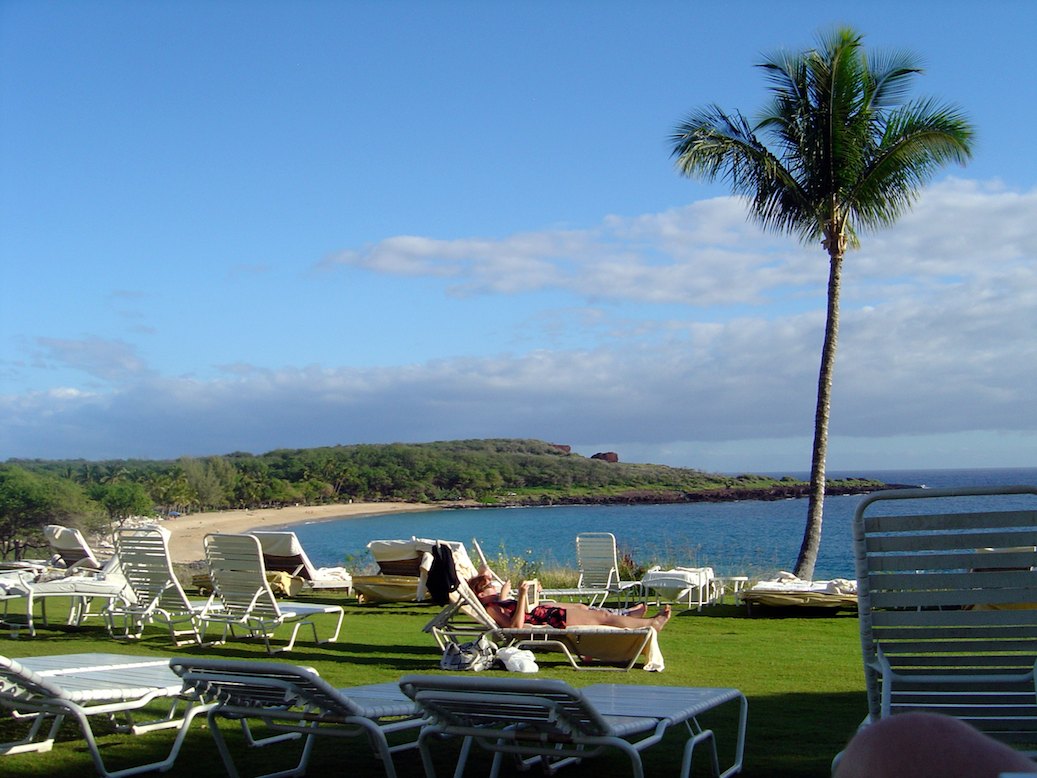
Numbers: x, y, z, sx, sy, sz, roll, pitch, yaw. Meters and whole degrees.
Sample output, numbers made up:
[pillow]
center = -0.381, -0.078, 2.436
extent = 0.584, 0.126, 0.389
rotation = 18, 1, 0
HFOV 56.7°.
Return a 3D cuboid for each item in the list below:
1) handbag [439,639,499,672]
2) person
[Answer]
[handbag]
center = -0.475, 2.575, 9.381
extent = 0.475, 0.144, 0.322
rotation = -1, -5, -5
[person]
center = 0.511, 2.173, 9.815
extent = 1.941, 0.417, 0.799
rotation = 0, -10, 3
